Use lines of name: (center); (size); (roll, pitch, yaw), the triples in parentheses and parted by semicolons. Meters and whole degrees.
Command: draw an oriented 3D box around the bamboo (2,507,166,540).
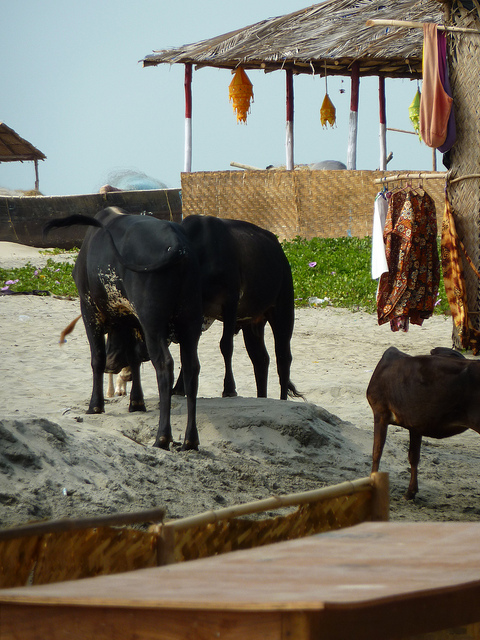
bamboo: (-0.490, 0.628, 3.272); (0.526, 0.064, 0.222); (-2, -3, -27)

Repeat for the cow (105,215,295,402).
cow: (-0.120, -0.162, 7.528); (0.526, 1.247, 1.945); (0, 6, 25)

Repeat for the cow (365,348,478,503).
cow: (0.897, 0.430, 5.142); (0.234, 0.623, 0.849); (-1, -3, -23)

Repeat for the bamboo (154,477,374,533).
bamboo: (0.121, 0.616, 3.584); (0.910, 0.084, 0.099); (-1, -3, -38)

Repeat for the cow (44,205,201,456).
cow: (-0.674, 0.002, 6.683); (0.685, 1.609, 1.460); (-1, -3, -17)

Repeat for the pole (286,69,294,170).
pole: (1.011, -4.144, 21.832); (0.170, 2.036, 0.612); (-2, -3, 3)

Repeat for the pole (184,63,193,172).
pole: (-1.021, -3.958, 20.763); (0.153, 1.960, 0.750); (-2, -3, -3)
